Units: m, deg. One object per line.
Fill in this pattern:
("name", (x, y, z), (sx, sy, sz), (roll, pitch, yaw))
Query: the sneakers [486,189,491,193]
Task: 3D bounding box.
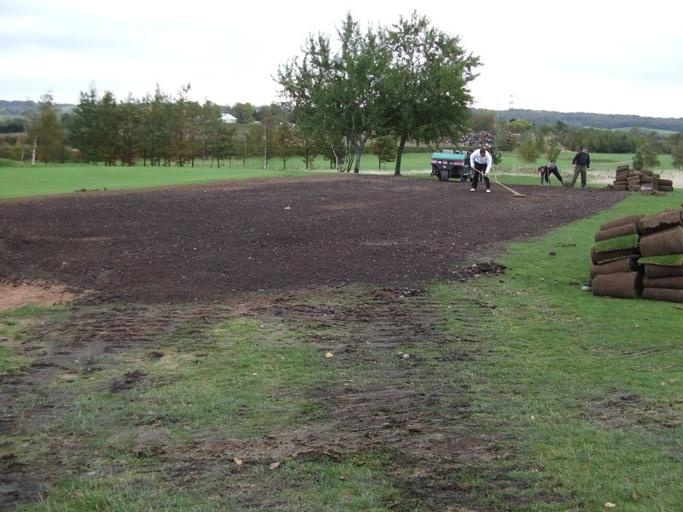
("sneakers", (5.990, -2.680, 27.537), (0.262, 0.147, 0.073), (3, 3, 8))
